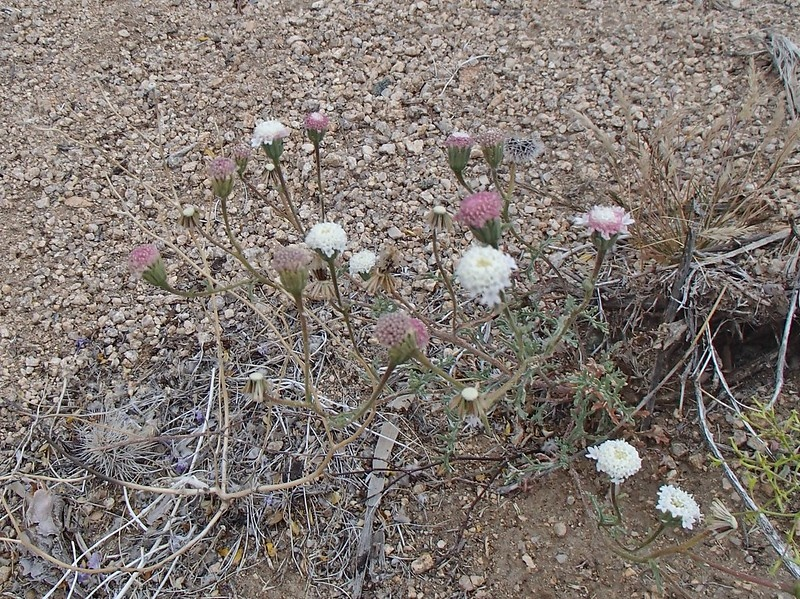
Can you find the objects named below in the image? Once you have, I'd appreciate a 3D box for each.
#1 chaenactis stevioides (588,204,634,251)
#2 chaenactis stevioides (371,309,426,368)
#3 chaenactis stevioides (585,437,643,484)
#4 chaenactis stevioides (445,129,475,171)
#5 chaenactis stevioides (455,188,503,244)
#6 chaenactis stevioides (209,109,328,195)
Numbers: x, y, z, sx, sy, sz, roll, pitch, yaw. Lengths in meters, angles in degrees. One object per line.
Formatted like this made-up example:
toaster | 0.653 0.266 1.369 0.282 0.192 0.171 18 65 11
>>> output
chaenactis stevioides | 0.852 -0.304 2.830 0.161 0.179 0.178 13 66 8
chaenactis stevioides | 0.006 0.131 2.681 0.178 0.217 0.202 2 8 -19
chaenactis stevioides | 0.887 0.685 2.882 0.185 0.088 0.176 13 47 14
chaenactis stevioides | 0.264 -0.672 3.133 0.149 0.196 0.160 3 30 4
chaenactis stevioides | 0.349 -0.349 2.788 0.162 0.186 0.216 24 65 28
chaenactis stevioides | -0.699 -0.795 3.805 0.459 0.568 0.272 -26 53 -16
